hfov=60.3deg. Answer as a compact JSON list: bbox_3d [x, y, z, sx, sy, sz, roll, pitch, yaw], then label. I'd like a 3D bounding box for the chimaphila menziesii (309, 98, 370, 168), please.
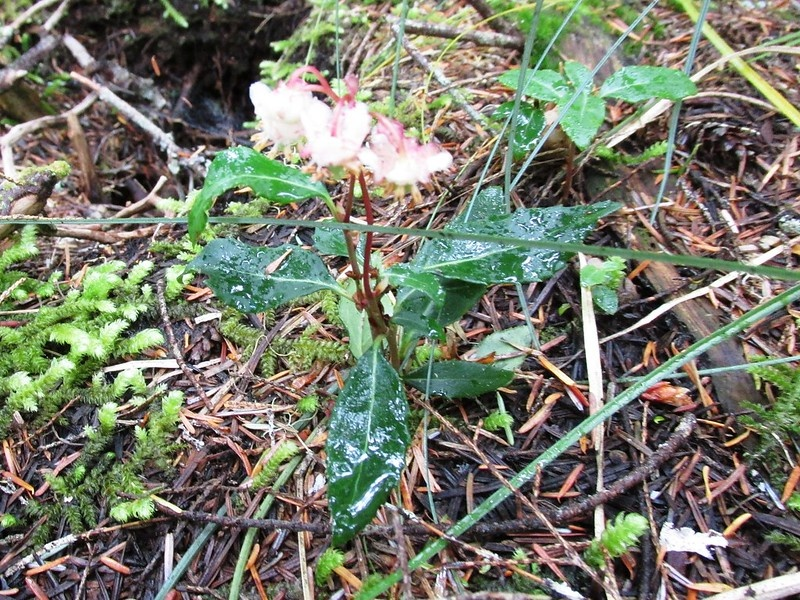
[{"bbox_3d":[-0.224,-0.588,2.460,0.229,0.181,0.236,0,61,-9],"label":"chimaphila menziesii"}]

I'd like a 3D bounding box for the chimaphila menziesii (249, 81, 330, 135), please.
[{"bbox_3d":[-0.424,-0.723,2.568,0.219,0.209,0.125,13,67,-7],"label":"chimaphila menziesii"}]
